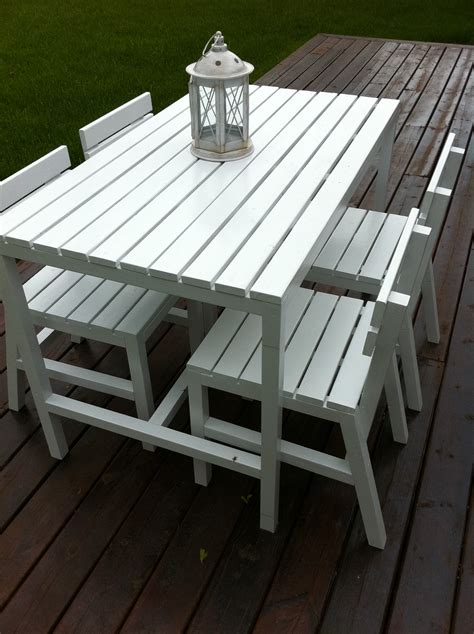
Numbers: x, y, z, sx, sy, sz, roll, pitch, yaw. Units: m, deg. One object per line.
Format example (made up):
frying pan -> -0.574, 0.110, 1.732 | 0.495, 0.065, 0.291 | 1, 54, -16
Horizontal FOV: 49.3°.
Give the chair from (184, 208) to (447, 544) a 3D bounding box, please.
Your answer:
chair -> 0.205, 0.189, 1.400 | 0.478, 0.719, 0.547 | 18, 48, 20
